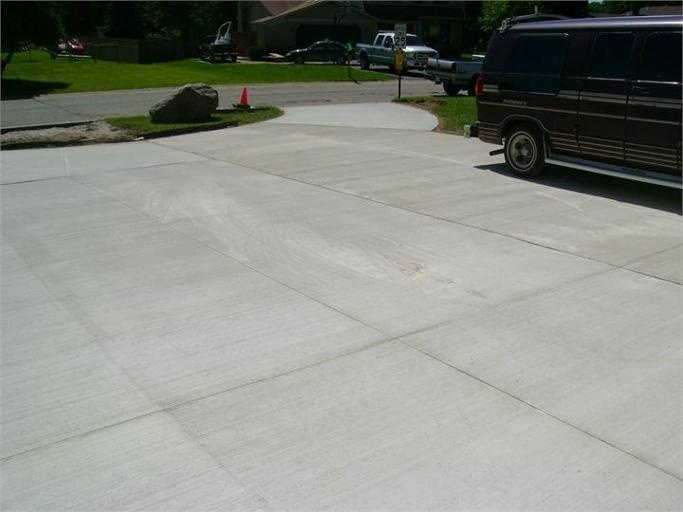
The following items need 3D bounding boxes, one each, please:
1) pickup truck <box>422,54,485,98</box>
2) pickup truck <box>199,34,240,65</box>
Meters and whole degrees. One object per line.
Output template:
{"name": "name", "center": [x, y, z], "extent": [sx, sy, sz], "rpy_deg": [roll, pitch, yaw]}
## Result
{"name": "pickup truck", "center": [5.304, -8.908, 25.041], "extent": [1.588, 0.903, 2.909], "rpy_deg": [24, 29, 32]}
{"name": "pickup truck", "center": [-11.150, -18.248, 46.259], "extent": [2.621, 1.515, 3.993], "rpy_deg": [-12, 24, -32]}
